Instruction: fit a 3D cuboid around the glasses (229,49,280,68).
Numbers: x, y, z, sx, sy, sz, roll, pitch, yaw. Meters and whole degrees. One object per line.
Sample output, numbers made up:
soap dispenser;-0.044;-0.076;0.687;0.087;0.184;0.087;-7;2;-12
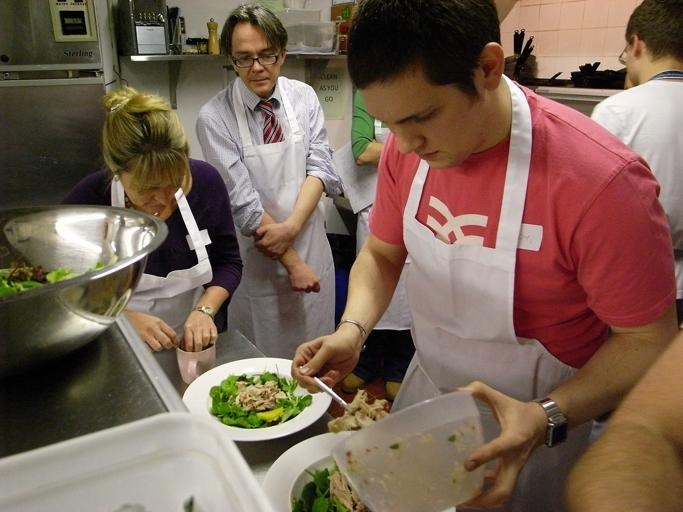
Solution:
glasses;-0.408;-0.940;2.311;0.227;0.070;0.085;-5;21;-10

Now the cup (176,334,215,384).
cup;-0.444;0.313;1.483;0.080;0.098;0.132;-1;22;-8

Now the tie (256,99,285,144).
tie;-0.361;-0.688;2.465;0.122;0.207;0.061;-5;20;-10

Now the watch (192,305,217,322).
watch;-0.494;0.223;1.745;0.068;0.074;0.050;-27;46;25

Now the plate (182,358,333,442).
plate;-0.265;0.391;1.392;0.286;0.072;0.297;-6;22;-18
